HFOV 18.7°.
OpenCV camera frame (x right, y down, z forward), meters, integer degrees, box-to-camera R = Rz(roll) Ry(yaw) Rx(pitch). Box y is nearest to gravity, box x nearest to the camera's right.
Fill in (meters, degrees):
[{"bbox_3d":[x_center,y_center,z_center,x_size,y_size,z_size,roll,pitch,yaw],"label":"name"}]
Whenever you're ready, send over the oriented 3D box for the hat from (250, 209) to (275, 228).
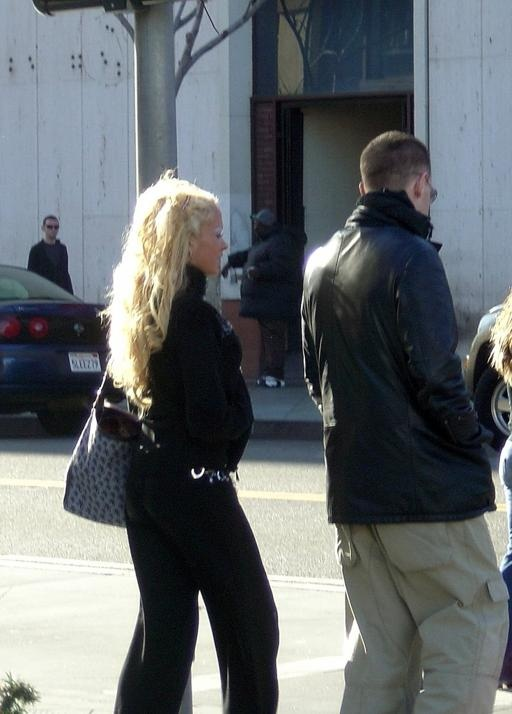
[{"bbox_3d":[0.066,-1.216,13.879,0.130,0.165,0.216,-13,29,-26],"label":"hat"}]
